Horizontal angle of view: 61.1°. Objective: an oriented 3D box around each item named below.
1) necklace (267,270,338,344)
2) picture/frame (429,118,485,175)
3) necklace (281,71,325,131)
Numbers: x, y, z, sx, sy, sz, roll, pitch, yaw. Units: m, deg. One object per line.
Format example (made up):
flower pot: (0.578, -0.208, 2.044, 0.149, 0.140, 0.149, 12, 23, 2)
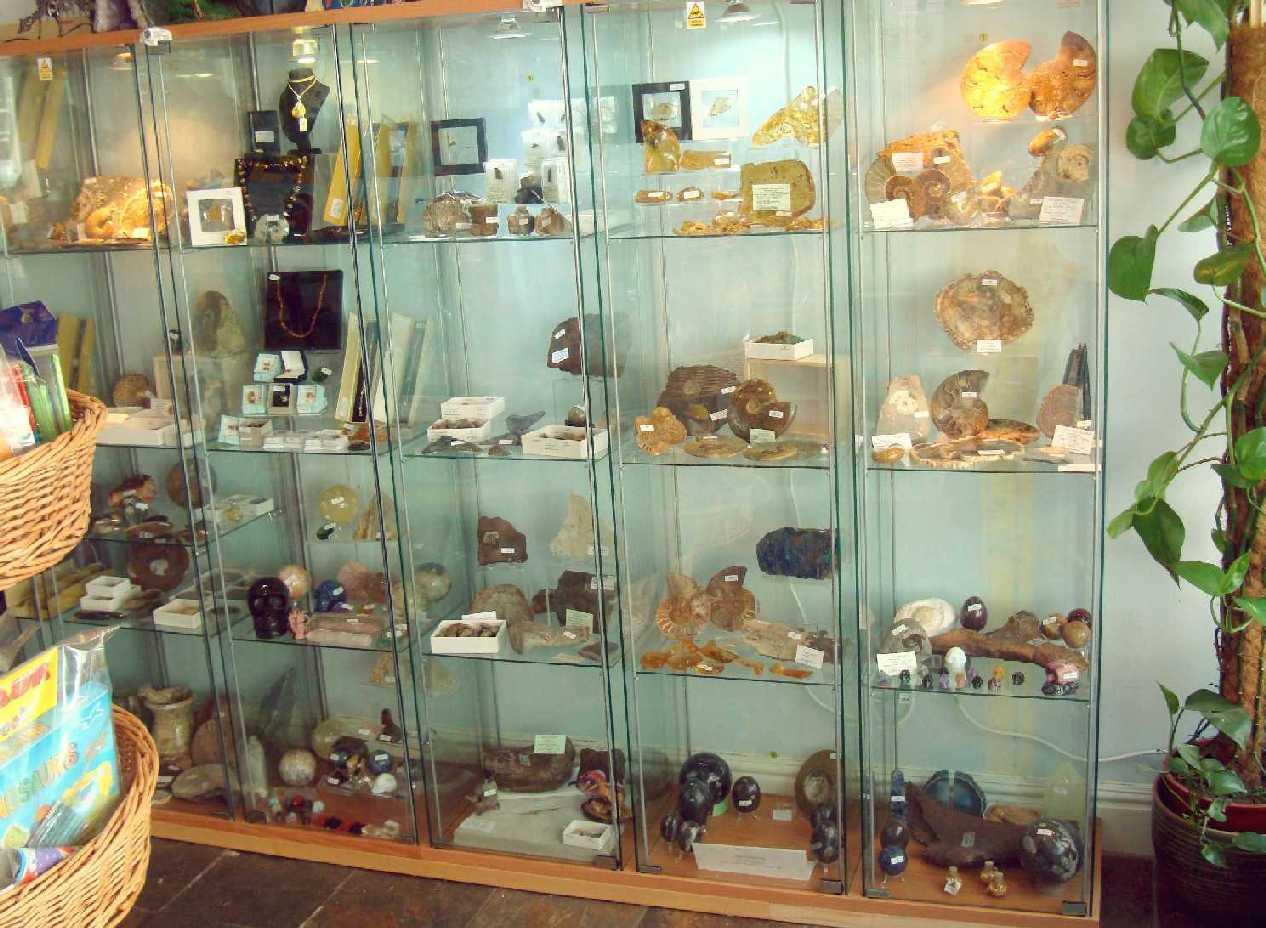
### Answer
necklace: (-1.043, -0.541, 3.306, 0.200, 0.183, 0.169, -4, 40, -2)
picture/frame: (-0.495, -0.888, 2.991, 0.165, 0.148, 0.040, 1, 7, 17)
necklace: (-0.946, -1.045, 3.062, 0.138, 0.157, 0.061, 8, 31, 9)
